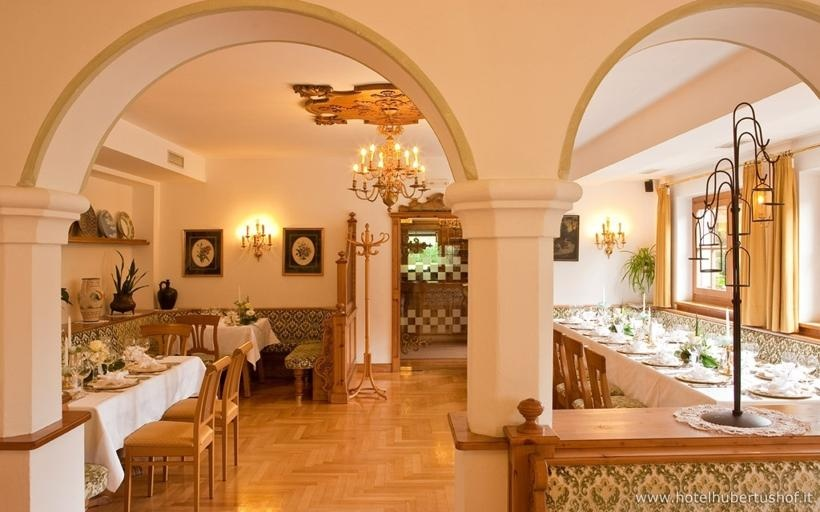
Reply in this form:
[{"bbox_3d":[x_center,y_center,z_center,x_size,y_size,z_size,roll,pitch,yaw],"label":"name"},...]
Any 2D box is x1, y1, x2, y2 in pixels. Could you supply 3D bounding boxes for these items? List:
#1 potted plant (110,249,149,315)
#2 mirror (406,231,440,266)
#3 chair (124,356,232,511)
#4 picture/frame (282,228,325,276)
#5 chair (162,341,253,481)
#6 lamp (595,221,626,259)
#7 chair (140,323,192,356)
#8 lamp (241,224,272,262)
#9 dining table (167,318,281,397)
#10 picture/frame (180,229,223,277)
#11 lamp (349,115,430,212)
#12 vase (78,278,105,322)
[{"bbox_3d":[-4.106,0.383,8.280,0.454,0.880,1.005,-3,7,-23],"label":"potted plant"},{"bbox_3d":[0.293,-0.093,11.249,0.631,0.698,0.070,-2,34,1],"label":"mirror"},{"bbox_3d":[-2.097,1.571,5.165,0.920,1.256,0.908,-2,7,-18],"label":"chair"},{"bbox_3d":[-1.689,-0.059,8.931,0.747,0.834,0.057,-1,2,1],"label":"picture/frame"},{"bbox_3d":[-2.055,1.535,5.762,0.817,1.147,0.820,-2,-5,6],"label":"chair"},{"bbox_3d":[3.282,-0.309,9.360,0.491,0.652,0.348,-2,-1,28],"label":"lamp"},{"bbox_3d":[-2.929,1.004,6.814,0.467,0.612,0.433,0,-9,-4],"label":"chair"},{"bbox_3d":[-2.383,-0.257,8.821,0.484,0.551,0.297,-6,-14,-9],"label":"lamp"},{"bbox_3d":[-2.851,1.368,8.088,1.366,0.951,1.152,13,-16,-5],"label":"dining table"},{"bbox_3d":[-3.285,-0.053,8.910,0.756,0.879,0.095,-1,2,0],"label":"picture/frame"},{"bbox_3d":[-0.238,-1.048,6.669,0.903,1.014,0.934,3,2,40],"label":"lamp"},{"bbox_3d":[-4.145,0.572,7.374,0.263,0.542,0.312,-5,8,-33],"label":"vase"}]
